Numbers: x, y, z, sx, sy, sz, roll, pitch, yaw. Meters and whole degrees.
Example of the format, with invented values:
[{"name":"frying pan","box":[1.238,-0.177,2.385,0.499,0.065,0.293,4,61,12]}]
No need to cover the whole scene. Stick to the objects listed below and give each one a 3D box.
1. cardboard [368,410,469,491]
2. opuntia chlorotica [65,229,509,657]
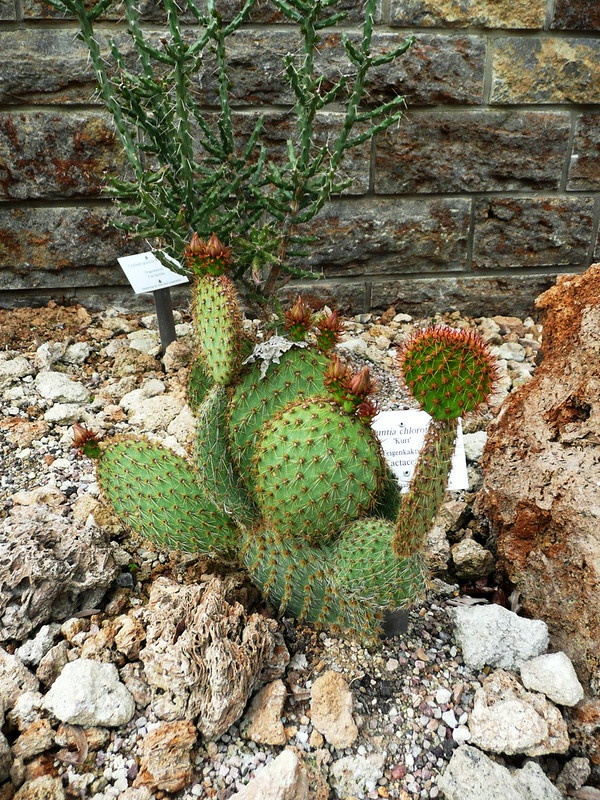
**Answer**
[{"name":"cardboard","box":[0.286,0.125,1.752,0.294,0.260,0.013,-3,12,3]},{"name":"opuntia chlorotica","box":[-0.039,0.101,1.693,0.946,0.888,0.439,15,38,23]}]
